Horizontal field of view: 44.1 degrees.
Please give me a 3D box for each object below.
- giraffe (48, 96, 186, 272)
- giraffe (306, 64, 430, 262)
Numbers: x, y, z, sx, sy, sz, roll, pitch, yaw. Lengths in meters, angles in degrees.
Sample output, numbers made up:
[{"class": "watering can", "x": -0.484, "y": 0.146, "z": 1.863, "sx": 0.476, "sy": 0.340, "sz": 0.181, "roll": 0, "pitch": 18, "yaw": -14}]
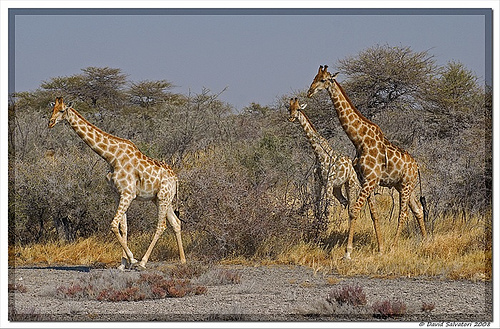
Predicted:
[{"class": "giraffe", "x": -3.894, "y": 0.842, "z": 19.366, "sx": 3.787, "sy": 4.706, "sz": 5.328, "roll": 2, "pitch": -7, "yaw": -7}, {"class": "giraffe", "x": 3.839, "y": 0.114, "z": 18.786, "sx": 3.057, "sy": 5.543, "sz": 7.274, "roll": -1, "pitch": -7, "yaw": 16}]
